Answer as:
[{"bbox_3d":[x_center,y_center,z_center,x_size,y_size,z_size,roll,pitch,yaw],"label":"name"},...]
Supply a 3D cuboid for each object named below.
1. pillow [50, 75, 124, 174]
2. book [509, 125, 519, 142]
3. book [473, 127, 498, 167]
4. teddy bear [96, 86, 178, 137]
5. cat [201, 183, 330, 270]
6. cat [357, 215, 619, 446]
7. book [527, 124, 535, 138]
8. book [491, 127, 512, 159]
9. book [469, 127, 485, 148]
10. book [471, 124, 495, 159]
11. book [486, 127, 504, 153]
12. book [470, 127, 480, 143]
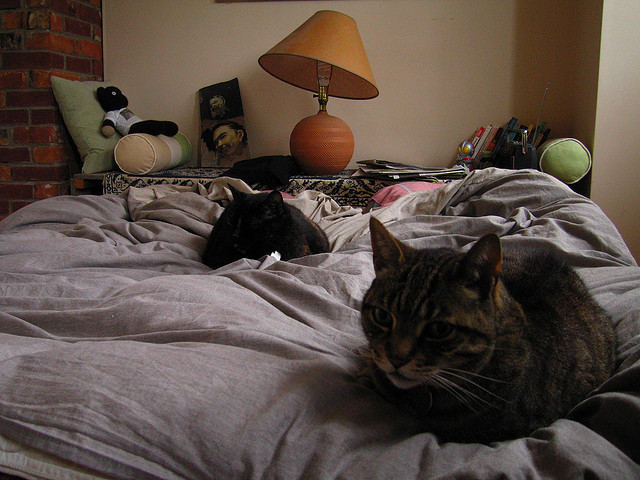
[{"bbox_3d":[-1.339,-0.631,2.821,0.146,0.489,0.493,-9,-2,36],"label":"pillow"},{"bbox_3d":[1.088,-0.592,2.784,0.075,0.021,0.073,1,59,9],"label":"book"},{"bbox_3d":[0.966,-0.533,2.886,0.075,0.251,0.058,30,1,-33],"label":"book"},{"bbox_3d":[-1.063,-0.727,2.842,0.349,0.277,0.362,-7,11,16],"label":"teddy bear"},{"bbox_3d":[-0.177,-0.046,1.529,0.239,0.202,0.360,6,6,17],"label":"cat"},{"bbox_3d":[0.310,0.144,0.891,0.439,0.362,0.271,-8,19,-25],"label":"cat"},{"bbox_3d":[1.192,-0.623,2.819,0.022,0.028,0.095,30,59,-5],"label":"book"},{"bbox_3d":[1.033,-0.550,2.838,0.040,0.233,0.031,35,-7,-22],"label":"book"},{"bbox_3d":[0.937,-0.625,2.975,0.047,0.063,0.176,25,59,8],"label":"book"},{"bbox_3d":[0.957,-0.573,2.911,0.053,0.227,0.080,25,17,0],"label":"book"},{"bbox_3d":[1.013,-0.572,2.883,0.053,0.178,0.046,24,3,-37],"label":"book"},{"bbox_3d":[0.948,-0.641,3.040,0.028,0.092,0.024,29,8,-15],"label":"book"}]
